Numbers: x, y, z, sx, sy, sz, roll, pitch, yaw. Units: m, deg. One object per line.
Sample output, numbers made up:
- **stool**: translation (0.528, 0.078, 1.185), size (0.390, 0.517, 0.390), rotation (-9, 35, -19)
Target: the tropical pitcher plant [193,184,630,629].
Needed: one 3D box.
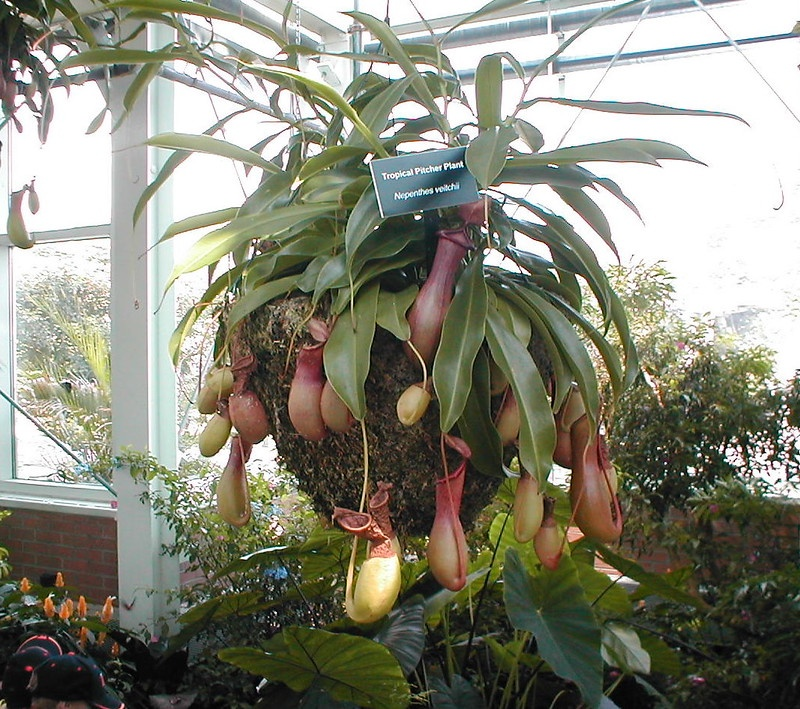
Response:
- **tropical pitcher plant**: translation (-0.014, 0.076, 1.215), size (0.699, 0.353, 0.660), rotation (0, 5, -1)

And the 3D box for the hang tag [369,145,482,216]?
- **hang tag**: translation (0.040, -0.266, 1.082), size (0.172, 0.015, 0.103), rotation (-10, -47, -7)
